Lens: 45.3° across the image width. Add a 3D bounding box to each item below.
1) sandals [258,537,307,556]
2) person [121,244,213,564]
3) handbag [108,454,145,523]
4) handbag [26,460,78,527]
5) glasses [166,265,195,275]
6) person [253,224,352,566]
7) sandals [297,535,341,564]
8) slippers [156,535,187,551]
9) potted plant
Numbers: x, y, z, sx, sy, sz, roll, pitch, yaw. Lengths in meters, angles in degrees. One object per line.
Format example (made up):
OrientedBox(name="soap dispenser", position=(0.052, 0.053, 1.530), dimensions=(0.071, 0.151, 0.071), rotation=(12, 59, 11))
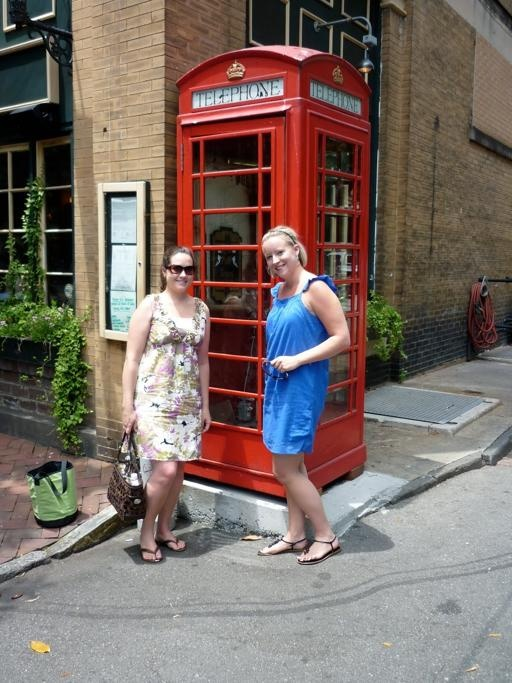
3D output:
OrientedBox(name="sandals", position=(0.153, 1.173, 3.563), dimensions=(0.260, 0.097, 0.110), rotation=(2, -4, -5))
OrientedBox(name="person", position=(-0.494, 0.351, 3.538), dimensions=(0.348, 1.768, 0.524), rotation=(3, 7, 29))
OrientedBox(name="handbag", position=(-0.712, 0.809, 3.384), dimensions=(0.257, 0.336, 0.181), rotation=(4, 7, 35))
OrientedBox(name="handbag", position=(-1.298, 0.994, 3.952), dimensions=(0.259, 0.357, 0.275), rotation=(-9, 2, 43))
OrientedBox(name="glasses", position=(-0.416, -0.398, 3.386), dimensions=(0.142, 0.051, 0.073), rotation=(-2, 6, -15))
OrientedBox(name="person", position=(0.233, 0.312, 3.313), dimensions=(0.444, 1.849, 0.530), rotation=(-1, 6, -3))
OrientedBox(name="sandals", position=(0.352, 1.160, 3.453), dimensions=(0.230, 0.096, 0.116), rotation=(0, -6, -36))
OrientedBox(name="slippers", position=(-0.511, 1.197, 3.664), dimensions=(0.148, 0.040, 0.078), rotation=(2, 3, 33))
OrientedBox(name="potted plant", position=(1.746, -0.177, 8.452), dimensions=(0.469, 0.753, 0.760), rotation=(-8, 16, -19))
